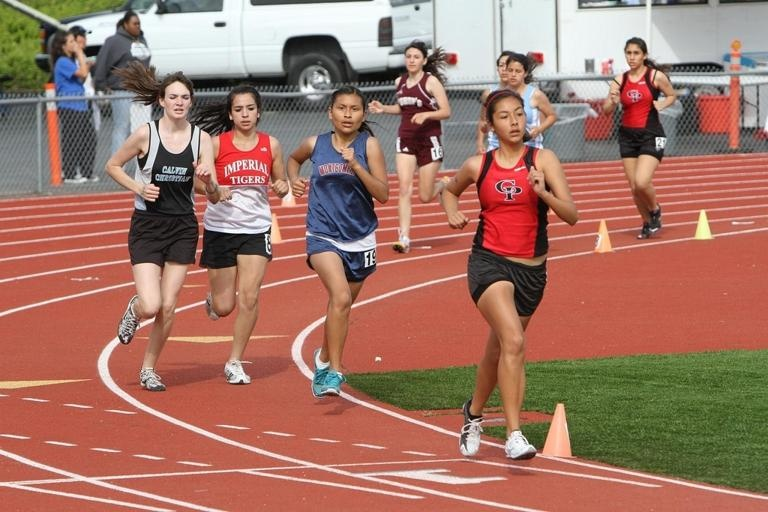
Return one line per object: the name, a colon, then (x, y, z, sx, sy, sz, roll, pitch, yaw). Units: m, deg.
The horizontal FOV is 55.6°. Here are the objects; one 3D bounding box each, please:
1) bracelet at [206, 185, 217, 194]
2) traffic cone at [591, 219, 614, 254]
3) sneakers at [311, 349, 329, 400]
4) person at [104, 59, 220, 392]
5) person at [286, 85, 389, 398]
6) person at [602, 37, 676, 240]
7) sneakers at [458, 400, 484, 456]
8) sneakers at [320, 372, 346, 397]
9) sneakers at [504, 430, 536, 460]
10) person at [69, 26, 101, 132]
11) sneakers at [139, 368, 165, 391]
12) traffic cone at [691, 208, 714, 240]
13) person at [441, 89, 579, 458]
bracelet: (-1.460, -0.567, 6.161, 0.072, 0.048, 0.070, 4, 13, 11)
traffic cone: (3.537, -0.377, 11.682, 0.281, 0.503, 0.978, 2, 10, 17)
sneakers: (-0.514, 0.957, 5.976, 0.145, 0.447, 0.174, 14, -38, -30)
person: (-1.877, -0.194, 6.278, 0.917, 2.720, 0.703, -4, 10, -17)
person: (-0.335, -0.066, 5.989, 0.788, 2.612, 0.989, -3, 9, -10)
person: (4.105, -1.832, 11.648, 0.959, 3.169, 0.592, 2, 10, 17)
sneakers: (0.568, 1.156, 4.826, 0.141, 0.391, 0.155, 11, -28, -18)
sneakers: (-0.415, 0.995, 5.704, 0.170, 0.190, 0.129, -1, 9, 0)
sneakers: (0.831, 1.178, 4.437, 0.154, 0.214, 0.200, -1, 9, 3)
person: (-6.638, -3.980, 16.231, 0.474, 2.371, 1.480, -5, 10, -21)
sneakers: (-2.043, 1.080, 6.425, 0.134, 0.136, 0.317, -1, 4, -34)
traffic cone: (5.405, -0.579, 12.270, 0.275, 0.461, 0.990, 3, 10, 23)
person: (0.822, 0.161, 4.808, 0.866, 2.504, 1.040, 0, 9, 5)
